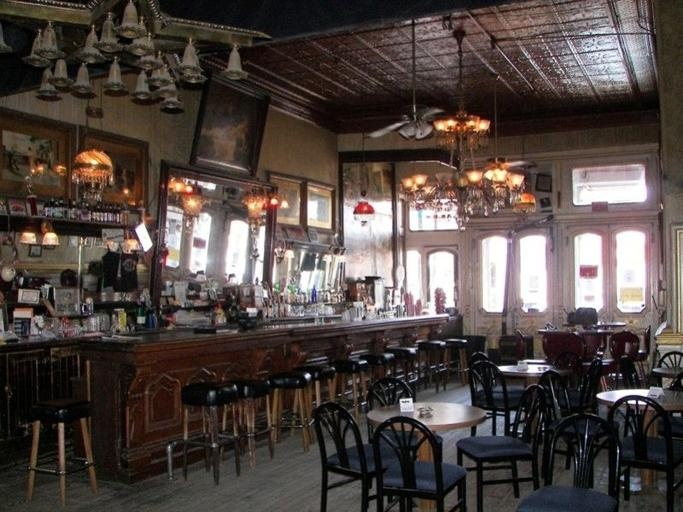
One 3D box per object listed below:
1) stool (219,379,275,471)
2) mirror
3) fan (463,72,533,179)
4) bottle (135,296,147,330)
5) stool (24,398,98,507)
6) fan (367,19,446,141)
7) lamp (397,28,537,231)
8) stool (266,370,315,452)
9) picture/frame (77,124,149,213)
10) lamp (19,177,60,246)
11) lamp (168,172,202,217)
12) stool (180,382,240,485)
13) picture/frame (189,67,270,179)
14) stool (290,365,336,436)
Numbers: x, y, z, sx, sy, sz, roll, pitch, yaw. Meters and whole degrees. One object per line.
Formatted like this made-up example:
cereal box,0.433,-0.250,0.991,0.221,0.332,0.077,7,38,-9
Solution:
stool,-1.080,1.865,6.734,0.580,0.892,0.607,-3,-6,6
mirror,-1.978,-0.340,8.897,0.216,2.088,2.143,-5,-8,38
fan,2.930,-2.486,10.951,1.715,1.865,1.775,1,-1,4
bottle,-2.653,0.751,7.871,0.141,0.346,0.389,-3,8,-19
stool,-2.759,1.886,5.837,0.517,0.901,0.556,-3,-5,13
fan,1.036,-2.505,9.027,1.217,1.719,1.197,2,3,38
lamp,1.921,-2.127,9.483,1.847,2.968,1.913,0,3,16
stool,-0.614,1.835,7.137,0.510,0.900,0.550,-2,-3,-6
picture/frame,-3.085,-1.140,8.082,0.989,0.975,0.070,12,12,10
lamp,-3.647,-0.585,7.184,0.217,0.774,0.406,0,13,7
lamp,-2.251,-0.864,8.635,0.177,0.578,0.549,5,9,35
stool,-1.383,1.844,6.257,0.609,0.970,0.614,-9,-9,42
picture/frame,-1.756,-2.002,9.280,0.208,1.342,1.470,13,7,28
stool,-0.396,1.785,7.786,0.652,0.907,0.688,-4,-7,29
